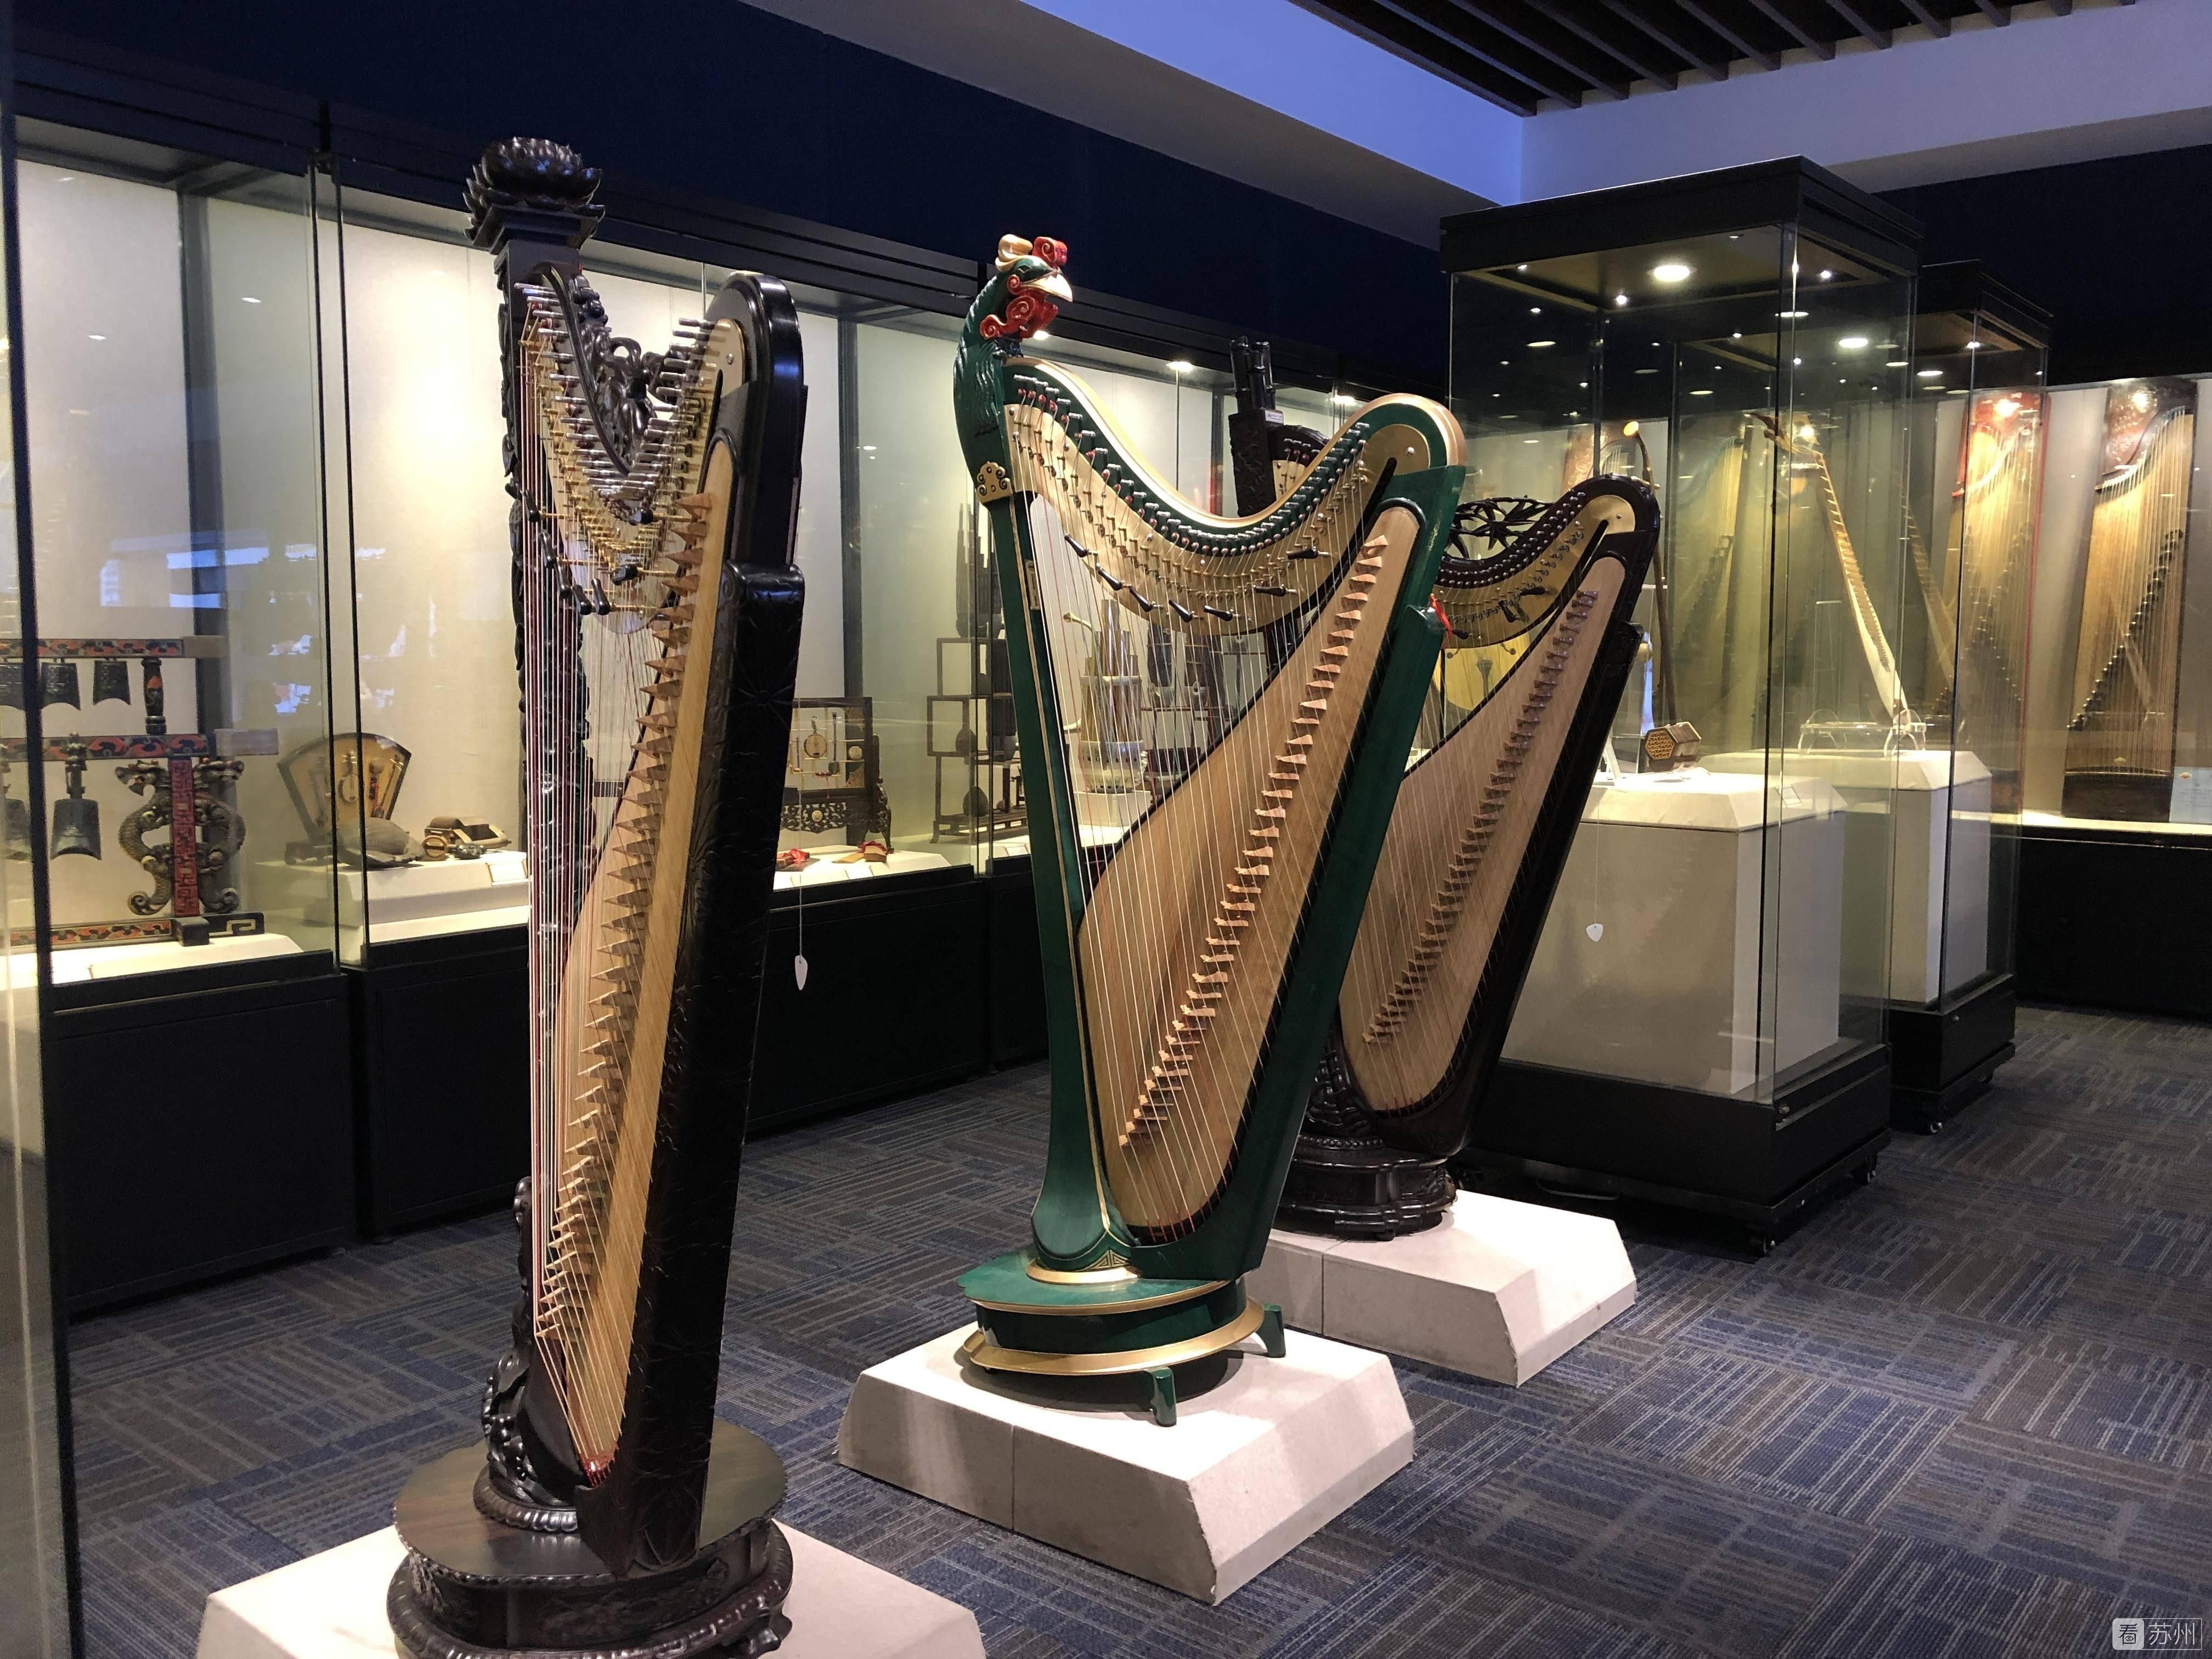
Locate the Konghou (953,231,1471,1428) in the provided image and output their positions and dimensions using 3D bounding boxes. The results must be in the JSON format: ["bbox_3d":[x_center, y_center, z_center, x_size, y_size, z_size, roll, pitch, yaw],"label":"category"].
[{"bbox_3d":[0.149,0.132,3.073,0.839,1.812,0.236,2,11,11],"label":"Konghou"}]

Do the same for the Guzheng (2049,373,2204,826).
[{"bbox_3d":[3.879,-0.872,6.794,0.167,1.738,0.354,-1,5,-19],"label":"Guzheng"}]

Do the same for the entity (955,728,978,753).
[{"bbox_3d":[-0.447,-0.281,5.702,0.054,0.089,0.033,9,28,22],"label":"entity"}]

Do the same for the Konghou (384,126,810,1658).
[{"bbox_3d":[-0.597,0.136,2.214,0.534,2.173,0.540,2,5,-21],"label":"Konghou"}]

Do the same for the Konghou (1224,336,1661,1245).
[{"bbox_3d":[0.748,0.043,4.064,0.725,2.086,0.816,-1,6,-30],"label":"Konghou"}]

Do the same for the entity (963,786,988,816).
[{"bbox_3d":[-0.418,-0.089,5.782,0.077,0.069,0.091,2,-4,-12],"label":"entity"}]
